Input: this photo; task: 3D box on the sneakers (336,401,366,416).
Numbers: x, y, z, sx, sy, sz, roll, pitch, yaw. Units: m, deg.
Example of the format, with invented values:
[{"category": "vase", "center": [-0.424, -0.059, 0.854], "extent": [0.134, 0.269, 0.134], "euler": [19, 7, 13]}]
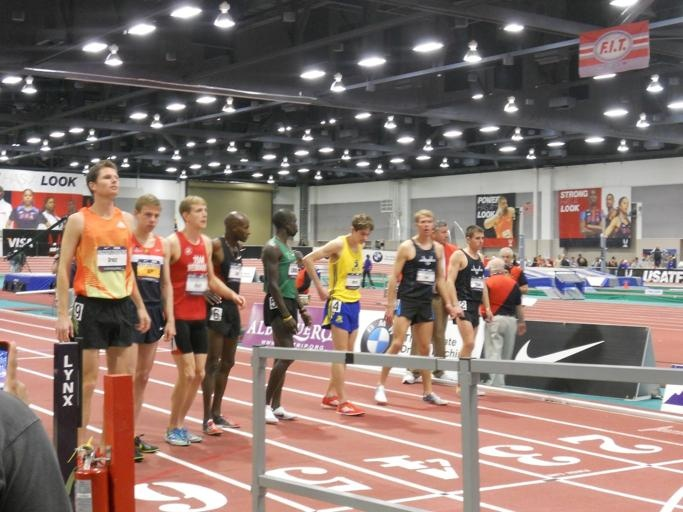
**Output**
[{"category": "sneakers", "center": [0.102, 1.617, 6.442], "extent": [0.119, 0.108, 0.279], "euler": [4, -8, -42]}]

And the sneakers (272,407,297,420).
[{"category": "sneakers", "center": [-0.550, 1.585, 6.120], "extent": [0.262, 0.108, 0.096], "euler": [-6, -9, 41]}]

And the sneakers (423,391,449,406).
[{"category": "sneakers", "center": [1.063, 1.597, 6.842], "extent": [0.133, 0.160, 0.388], "euler": [3, -6, -35]}]

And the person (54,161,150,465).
[{"category": "person", "center": [-1.842, 0.493, 4.643], "extent": [0.586, 2.431, 1.003], "euler": [1, 3, -3]}]

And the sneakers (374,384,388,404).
[{"category": "sneakers", "center": [0.479, 1.660, 7.302], "extent": [0.192, 0.208, 0.534], "euler": [0, -9, 1]}]

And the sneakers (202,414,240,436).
[{"category": "sneakers", "center": [-1.196, 1.689, 6.078], "extent": [0.281, 0.109, 0.158], "euler": [1, -2, -6]}]

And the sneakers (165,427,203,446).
[{"category": "sneakers", "center": [-1.459, 1.669, 5.615], "extent": [0.231, 0.110, 0.178], "euler": [4, -3, 18]}]
